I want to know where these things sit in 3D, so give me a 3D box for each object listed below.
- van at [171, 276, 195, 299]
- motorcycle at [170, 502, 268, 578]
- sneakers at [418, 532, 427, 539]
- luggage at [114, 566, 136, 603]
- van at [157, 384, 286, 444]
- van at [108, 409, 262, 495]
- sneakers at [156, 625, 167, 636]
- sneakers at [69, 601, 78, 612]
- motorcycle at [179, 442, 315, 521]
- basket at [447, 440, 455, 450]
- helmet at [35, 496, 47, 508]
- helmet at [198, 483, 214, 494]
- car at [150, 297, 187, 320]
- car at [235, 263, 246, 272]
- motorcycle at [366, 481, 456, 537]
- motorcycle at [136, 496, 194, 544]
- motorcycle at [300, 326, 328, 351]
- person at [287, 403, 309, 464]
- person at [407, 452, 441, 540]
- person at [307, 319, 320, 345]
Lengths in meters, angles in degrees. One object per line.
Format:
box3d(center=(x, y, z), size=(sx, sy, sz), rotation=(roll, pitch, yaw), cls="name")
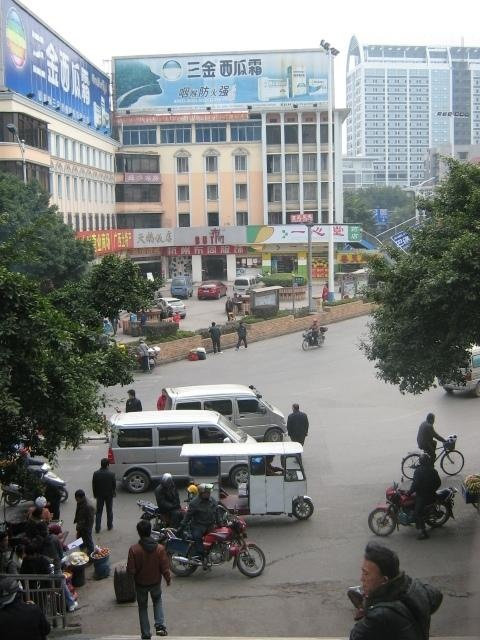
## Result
box3d(center=(-3.691, -1.977, 61.645), size=(0.875, 0.959, 1.836), rotation=(0, 11, 4), cls="van")
box3d(center=(-0.388, 3.426, 15.038), size=(1.525, 0.945, 0.696), rotation=(1, -8, -1), cls="motorcycle")
box3d(center=(3.033, 3.577, 16.354), size=(0.145, 0.098, 0.286), rotation=(-4, -2, 10), cls="sneakers")
box3d(center=(-1.671, 3.849, 14.229), size=(0.287, 0.445, 0.248), rotation=(-3, -1, -7), cls="luggage")
box3d(center=(-0.216, 2.108, 22.599), size=(2.513, 1.265, 1.292), rotation=(-3, 5, -10), cls="van")
box3d(center=(-1.293, 2.625, 20.105), size=(2.605, 1.247, 1.522), rotation=(-2, 4, -5), cls="van")
box3d(center=(-1.013, 4.019, 12.691), size=(0.135, 0.122, 0.262), rotation=(-4, -2, -5), cls="sneakers")
box3d(center=(-2.338, 4.048, 13.828), size=(0.065, 0.076, 0.177), rotation=(17, 32, -2), cls="sneakers")
box3d(center=(0.160, 2.857, 17.370), size=(2.084, 1.281, 1.293), rotation=(-2, 5, -1), cls="motorcycle")
box3d(center=(4.194, 2.499, 19.660), size=(0.192, 0.165, 0.156), rotation=(-8, 10, 5), cls="basket")
box3d(center=(-2.927, 2.652, 14.325), size=(0.172, 0.134, 0.233), rotation=(6, -5, 16), cls="helmet")
box3d(center=(-0.504, 2.528, 14.829), size=(0.202, 0.186, 0.156), rotation=(-13, 30, -14), cls="helmet")
box3d(center=(-3.317, -0.695, 48.589), size=(1.271, 1.009, 2.069), rotation=(-8, 18, -27), cls="car")
box3d(center=(0.071, -3.902, 75.130), size=(0.717, 0.779, 1.737), rotation=(-4, -2, 1), cls="car")
box3d(center=(2.919, 3.143, 16.570), size=(1.437, 0.901, 0.672), rotation=(-5, 1, -2), cls="motorcycle")
box3d(center=(-1.342, 3.362, 16.064), size=(1.033, 0.694, 0.578), rotation=(10, 7, 12), cls="motorcycle")
box3d(center=(2.885, 0.747, 38.522), size=(0.566, 0.738, 1.262), rotation=(2, 5, 37), cls="motorcycle")
box3d(center=(1.254, 2.397, 21.421), size=(0.475, 1.144, 0.328), rotation=(-3, 23, -5), cls="person")
box3d(center=(3.073, 2.946, 16.404), size=(0.495, 1.315, 0.377), rotation=(-3, -1, -34), cls="person")
box3d(center=(2.913, 0.518, 38.140), size=(0.443, 0.549, 0.833), rotation=(2, 18, 7), cls="person")
